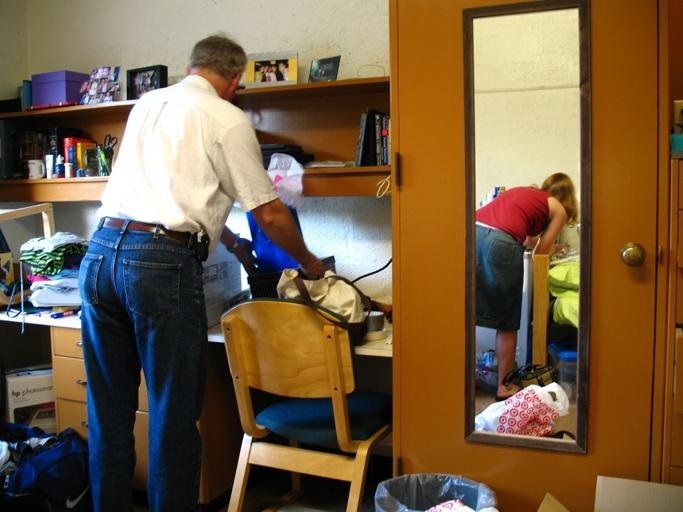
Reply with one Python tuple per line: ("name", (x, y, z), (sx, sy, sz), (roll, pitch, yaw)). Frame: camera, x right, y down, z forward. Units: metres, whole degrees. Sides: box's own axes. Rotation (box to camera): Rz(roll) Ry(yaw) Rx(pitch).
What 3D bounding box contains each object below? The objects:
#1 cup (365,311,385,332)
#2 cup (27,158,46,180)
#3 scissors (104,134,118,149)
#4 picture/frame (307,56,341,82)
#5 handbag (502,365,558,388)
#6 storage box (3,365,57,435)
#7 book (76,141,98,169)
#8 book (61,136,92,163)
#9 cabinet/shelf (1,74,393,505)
("cup", (0.143, 0.290, 2.802), (0.076, 0.058, 0.079), (2, 8, 0))
("cup", (-1.738, -0.493, 3.583), (0.126, 0.123, 0.082), (4, 3, 18))
("scissors", (-1.335, -0.663, 3.667), (0.086, 0.088, 0.021), (23, 13, 23))
("picture/frame", (-0.080, -0.936, 3.149), (0.186, 0.176, 0.025), (3, -7, 33))
("handbag", (0.727, 0.453, 2.439), (0.128, 0.057, 0.095), (-4, 4, 26))
("storage box", (-1.576, 0.737, 3.179), (0.328, 0.334, 0.176), (-4, 10, -41))
("book", (-1.430, -0.562, 3.528), (0.053, 0.148, 0.154), (-1, 1, 10))
("book", (-1.491, -0.592, 3.533), (0.050, 0.151, 0.158), (0, 3, 25))
("cabinet/shelf", (-0.562, 0.191, 2.776), (1.986, 1.831, 0.730), (2, 5, 18))
